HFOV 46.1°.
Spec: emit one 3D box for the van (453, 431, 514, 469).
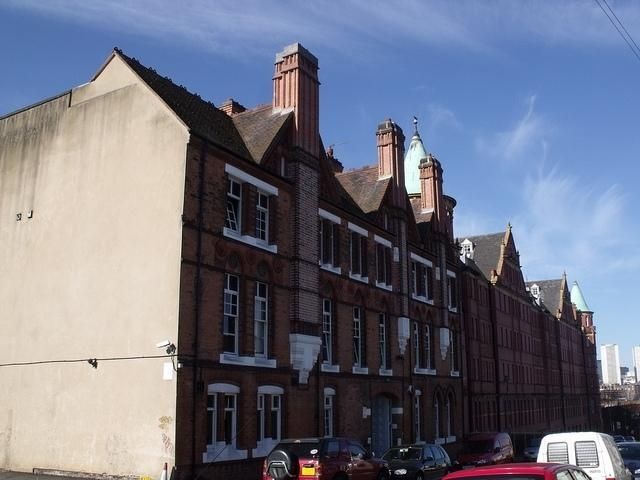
[{"bbox_3d":[8.542,10.949,38.879,1.599,1.713,3.154,-14,-35,27],"label":"van"}]
